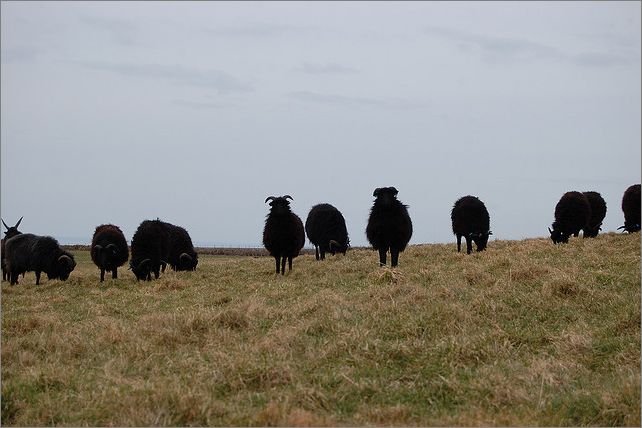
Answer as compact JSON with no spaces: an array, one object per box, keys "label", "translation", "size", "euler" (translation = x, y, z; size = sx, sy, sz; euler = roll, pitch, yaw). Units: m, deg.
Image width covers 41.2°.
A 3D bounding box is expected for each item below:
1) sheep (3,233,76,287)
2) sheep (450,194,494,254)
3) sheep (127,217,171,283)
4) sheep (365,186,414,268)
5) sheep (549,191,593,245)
[{"label":"sheep","translation":[-9.985,1.636,30.139],"size":[2.784,1.717,1.338],"euler":[-1,5,26]},{"label":"sheep","translation":[5.294,0.397,30.274],"size":[1.226,2.087,1.977],"euler":[-3,4,8]},{"label":"sheep","translation":[-5.983,1.359,29.806],"size":[1.204,2.119,3.221],"euler":[-4,4,-6]},{"label":"sheep","translation":[2.031,0.474,25.752],"size":[1.287,2.506,2.352],"euler":[-3,4,8]},{"label":"sheep","translation":[9.319,0.127,32.253],"size":[1.082,1.839,2.272],"euler":[-1,5,33]}]
